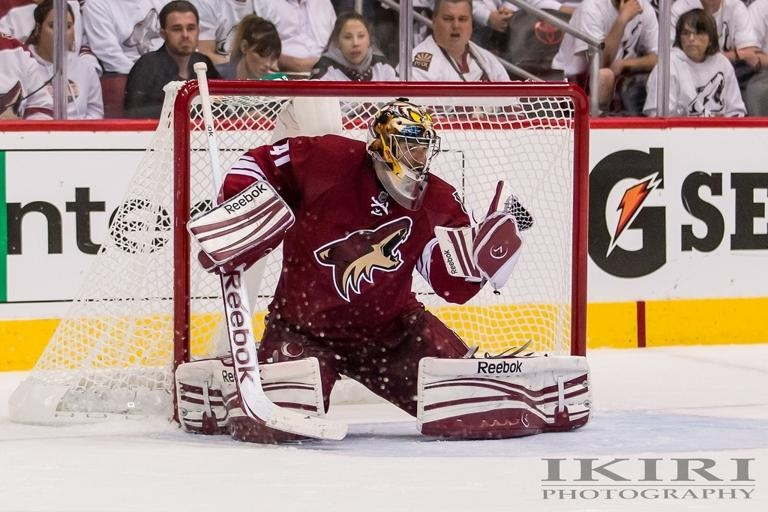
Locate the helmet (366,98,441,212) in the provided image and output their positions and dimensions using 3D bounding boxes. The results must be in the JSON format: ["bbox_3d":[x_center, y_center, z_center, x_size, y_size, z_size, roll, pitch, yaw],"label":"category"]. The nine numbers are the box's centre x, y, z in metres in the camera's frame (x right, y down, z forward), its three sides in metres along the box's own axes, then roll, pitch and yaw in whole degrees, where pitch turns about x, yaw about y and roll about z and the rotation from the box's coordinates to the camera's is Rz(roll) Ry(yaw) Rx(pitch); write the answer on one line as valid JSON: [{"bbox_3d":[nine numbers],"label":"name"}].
[{"bbox_3d":[0.090,-0.534,5.760,0.418,0.488,0.364,16,10,24],"label":"helmet"}]

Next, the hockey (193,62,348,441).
[{"bbox_3d":[-0.565,0.212,5.823,0.407,1.507,0.182,-6,-37,-5],"label":"hockey"}]
